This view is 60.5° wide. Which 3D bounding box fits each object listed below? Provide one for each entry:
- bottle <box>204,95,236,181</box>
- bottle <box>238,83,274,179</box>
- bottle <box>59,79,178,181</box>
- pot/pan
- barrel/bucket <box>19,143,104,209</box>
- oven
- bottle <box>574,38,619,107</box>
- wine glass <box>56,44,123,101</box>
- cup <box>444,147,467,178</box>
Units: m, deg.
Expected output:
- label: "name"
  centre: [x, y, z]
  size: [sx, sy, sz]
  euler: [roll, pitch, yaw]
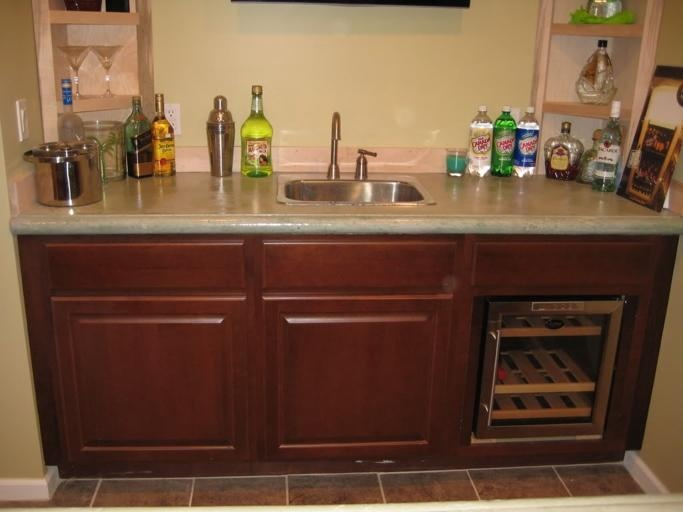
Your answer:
- label: "bottle"
  centre: [-0.523, -0.518, 2.538]
  size: [0.110, 0.346, 0.106]
  euler: [0, 19, 0]
- label: "bottle"
  centre: [-0.381, -0.550, 2.571]
  size: [0.142, 0.385, 0.152]
  euler: [0, 19, 0]
- label: "bottle"
  centre: [-0.966, -0.521, 2.555]
  size: [0.449, 0.442, 0.239]
  euler: [-7, 24, -22]
- label: "pot/pan"
  centre: [-1.047, -0.341, 2.200]
  size: [0.283, 0.246, 0.279]
  euler: [-12, 28, -33]
- label: "barrel/bucket"
  centre: [-0.981, -0.306, 2.153]
  size: [0.250, 0.219, 0.241]
  euler: [0, 22, 0]
- label: "oven"
  centre: [0.764, 0.417, 2.540]
  size: [0.678, 0.794, 0.546]
  euler: [0, 17, 0]
- label: "bottle"
  centre: [1.151, -0.833, 2.626]
  size: [0.173, 0.267, 0.175]
  euler: [-5, 27, 3]
- label: "wine glass"
  centre: [-1.034, -0.767, 2.423]
  size: [0.239, 0.204, 0.193]
  euler: [-12, 22, -30]
- label: "cup"
  centre: [0.520, -0.434, 2.681]
  size: [0.116, 0.129, 0.115]
  euler: [-1, 18, 0]
